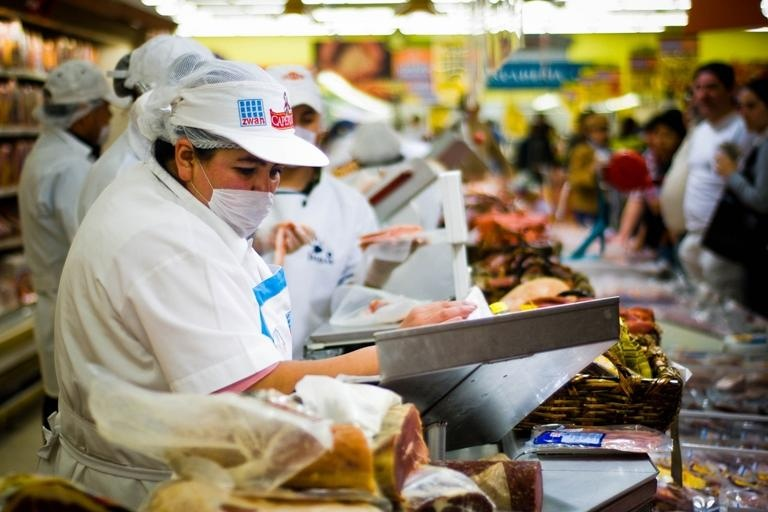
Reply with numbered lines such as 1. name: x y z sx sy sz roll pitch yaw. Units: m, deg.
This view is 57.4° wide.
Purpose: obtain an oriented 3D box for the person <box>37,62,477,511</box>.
1. person: -0.646 0.083 2.331 0.890 1.484 0.628 -2 13 -29

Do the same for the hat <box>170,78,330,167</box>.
1. hat: -0.469 -0.477 2.434 0.602 0.262 0.401 13 12 25

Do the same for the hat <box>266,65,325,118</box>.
1. hat: -0.554 -0.978 4.128 0.303 0.181 0.486 -18 6 -23

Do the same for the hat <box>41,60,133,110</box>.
1. hat: -1.792 -1.049 4.181 0.431 0.219 0.300 -6 30 -43
